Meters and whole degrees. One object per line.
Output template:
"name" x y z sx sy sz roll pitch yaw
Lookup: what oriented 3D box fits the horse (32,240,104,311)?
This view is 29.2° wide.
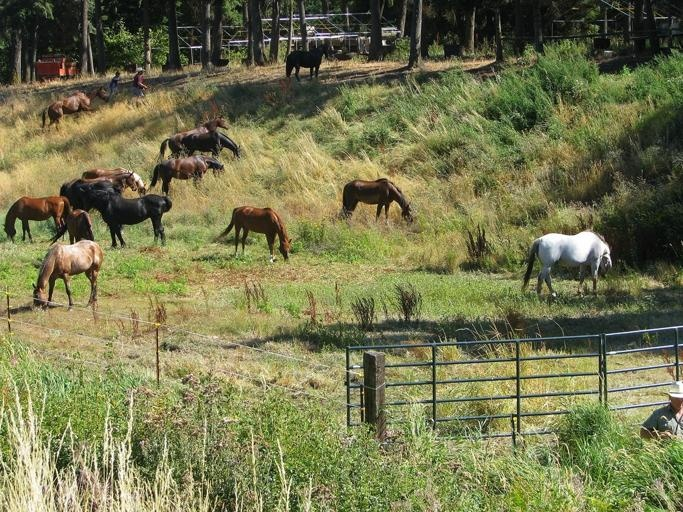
"horse" -7.912 0.523 37.947 2.050 1.858 0.923 -2 4 -33

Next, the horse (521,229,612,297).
"horse" 7.043 0.220 40.297 2.888 1.877 0.821 -1 4 -20

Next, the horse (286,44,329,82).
"horse" -1.687 -9.346 63.726 1.924 1.681 3.170 0 5 -4

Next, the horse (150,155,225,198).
"horse" -5.908 -2.902 50.829 2.794 1.884 0.796 -4 -22 -11

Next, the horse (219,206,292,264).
"horse" -2.882 -0.746 44.008 2.521 1.906 0.713 9 14 21

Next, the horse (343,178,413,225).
"horse" 1.246 -2.002 47.034 2.457 1.499 0.791 1 4 5
